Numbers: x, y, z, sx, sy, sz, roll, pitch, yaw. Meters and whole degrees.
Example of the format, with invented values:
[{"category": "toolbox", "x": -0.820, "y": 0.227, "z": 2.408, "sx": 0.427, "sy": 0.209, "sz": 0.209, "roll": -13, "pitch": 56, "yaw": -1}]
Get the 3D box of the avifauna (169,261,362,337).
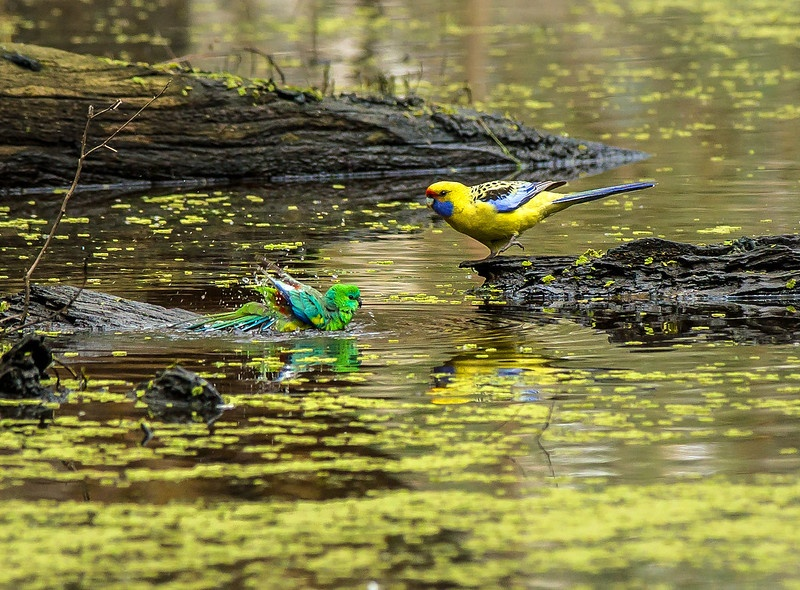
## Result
[{"category": "avifauna", "x": -1.348, "y": 0.108, "z": 10.563, "sx": 1.996, "sy": 0.475, "sz": 0.533, "roll": 5, "pitch": 15, "yaw": -35}]
